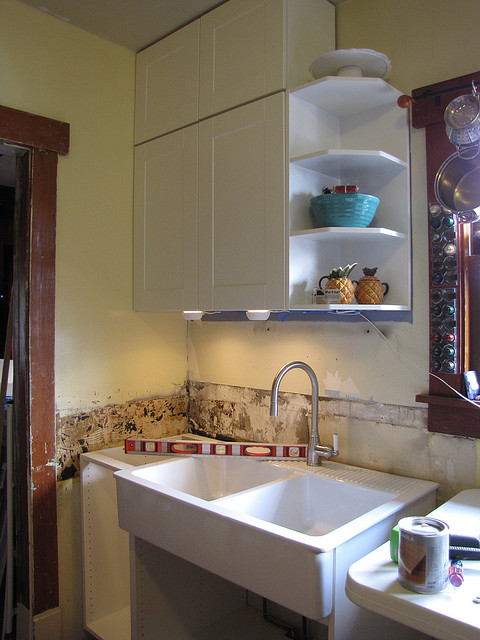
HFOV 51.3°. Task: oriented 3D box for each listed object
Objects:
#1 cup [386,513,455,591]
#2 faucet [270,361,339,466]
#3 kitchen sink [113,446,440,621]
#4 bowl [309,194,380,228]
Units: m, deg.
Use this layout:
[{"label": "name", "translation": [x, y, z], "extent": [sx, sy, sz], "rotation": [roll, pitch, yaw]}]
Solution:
[{"label": "cup", "translation": [0.332, 0.422, 0.898], "extent": [0.108, 0.108, 0.119], "rotation": [0, 1, 27]}, {"label": "faucet", "translation": [0.204, 0.326, 1.639], "extent": [0.170, 0.383, 0.127], "rotation": [-5, 5, -9]}, {"label": "kitchen sink", "translation": [0.071, 0.567, 1.527], "extent": [0.625, 0.200, 0.874], "rotation": [-3, 0, -44]}, {"label": "bowl", "translation": [0.302, -0.305, 1.408], "extent": [0.111, 0.053, 0.125], "rotation": [-1, 2, -12]}]
